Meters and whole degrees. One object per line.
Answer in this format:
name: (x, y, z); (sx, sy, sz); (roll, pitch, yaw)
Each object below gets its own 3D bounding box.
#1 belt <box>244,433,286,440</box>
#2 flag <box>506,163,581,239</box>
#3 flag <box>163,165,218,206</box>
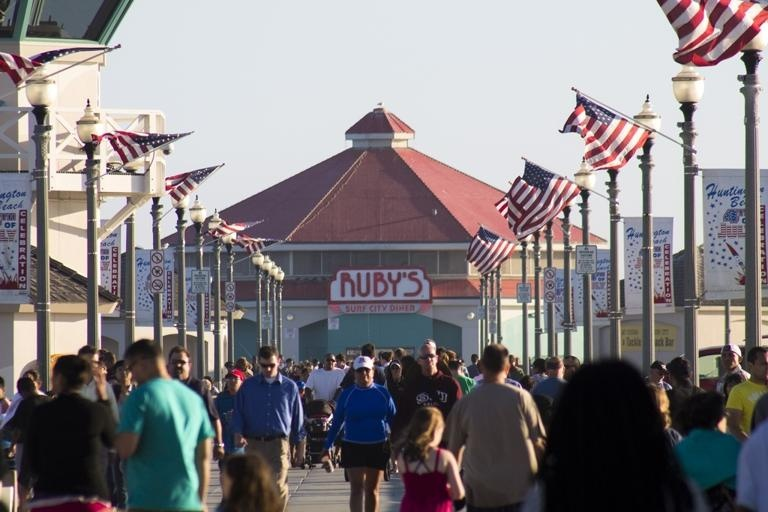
belt: (-2.111, 3.216, 35.920); (0.701, 0.106, 0.188); (1, -9, -11)
flag: (4.174, -1.406, 52.174); (0.261, 2.262, 2.282); (-10, -16, -47)
flag: (-5.203, -2.125, 53.124); (1.231, 1.103, 3.718); (0, -9, -6)
